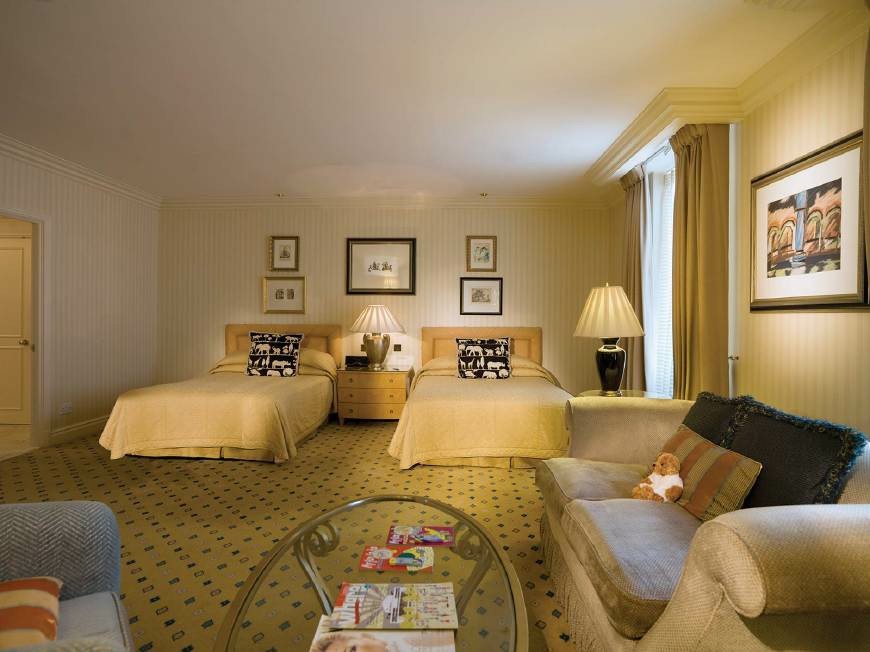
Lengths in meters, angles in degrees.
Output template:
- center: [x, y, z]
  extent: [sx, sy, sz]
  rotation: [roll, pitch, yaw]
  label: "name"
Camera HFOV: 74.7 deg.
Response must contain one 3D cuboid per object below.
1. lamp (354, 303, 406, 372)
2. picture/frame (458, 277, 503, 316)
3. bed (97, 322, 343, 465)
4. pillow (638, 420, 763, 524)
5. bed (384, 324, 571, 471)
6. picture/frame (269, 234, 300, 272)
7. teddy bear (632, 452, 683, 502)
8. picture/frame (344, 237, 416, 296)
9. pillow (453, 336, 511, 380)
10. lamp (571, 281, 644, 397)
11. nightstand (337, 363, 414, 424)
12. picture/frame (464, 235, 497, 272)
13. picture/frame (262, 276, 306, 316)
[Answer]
- center: [-0.730, 0.120, 6.395]
  extent: [0.630, 0.766, 0.647]
  rotation: [-1, 2, -19]
  label: "lamp"
- center: [0.536, -0.346, 6.457]
  extent: [0.413, 0.375, 0.033]
  rotation: [0, -2, 0]
  label: "picture/frame"
- center: [-1.771, 0.591, 5.539]
  extent: [1.215, 0.823, 1.638]
  rotation: [0, -2, 4]
  label: "bed"
- center: [1.342, 0.725, 2.777]
  extent: [0.098, 0.381, 0.403]
  rotation: [40, -5, -18]
  label: "pillow"
- center: [0.425, 0.607, 5.379]
  extent: [1.117, 0.812, 1.510]
  rotation: [-1, -2, 3]
  label: "bed"
- center: [-1.733, -0.855, 6.545]
  extent: [0.386, 0.500, 0.034]
  rotation: [0, 3, -7]
  label: "picture/frame"
- center: [1.146, 0.759, 2.940]
  extent: [0.220, 0.282, 0.203]
  rotation: [6, -4, 6]
  label: "teddy bear"
- center: [-0.597, -0.707, 6.513]
  extent: [0.624, 0.530, 0.049]
  rotation: [0, -1, 1]
  label: "picture/frame"
- center: [0.497, 0.336, 5.860]
  extent: [0.433, 0.419, 0.133]
  rotation: [0, -33, 1]
  label: "pillow"
- center: [1.356, 0.043, 4.480]
  extent: [0.466, 0.770, 1.059]
  rotation: [3, 9, 17]
  label: "lamp"
- center: [-0.659, 0.713, 6.027]
  extent: [0.810, 0.637, 0.481]
  rotation: [0, -3, 2]
  label: "nightstand"
- center: [0.525, -0.830, 6.450]
  extent: [0.390, 0.488, 0.033]
  rotation: [0, -1, -1]
  label: "picture/frame"
- center: [-1.735, -0.365, 6.559]
  extent: [0.426, 0.434, 0.032]
  rotation: [1, 6, 4]
  label: "picture/frame"
